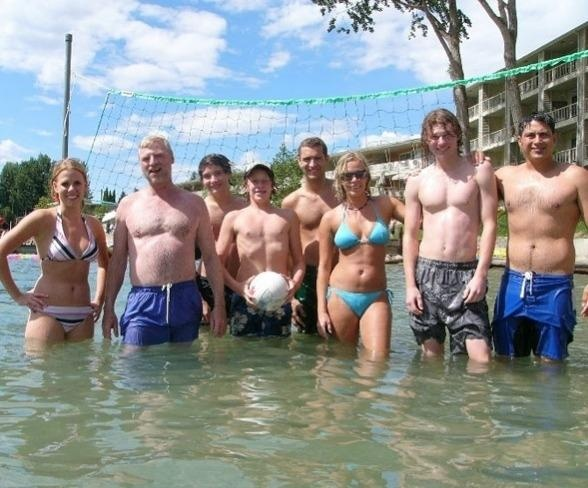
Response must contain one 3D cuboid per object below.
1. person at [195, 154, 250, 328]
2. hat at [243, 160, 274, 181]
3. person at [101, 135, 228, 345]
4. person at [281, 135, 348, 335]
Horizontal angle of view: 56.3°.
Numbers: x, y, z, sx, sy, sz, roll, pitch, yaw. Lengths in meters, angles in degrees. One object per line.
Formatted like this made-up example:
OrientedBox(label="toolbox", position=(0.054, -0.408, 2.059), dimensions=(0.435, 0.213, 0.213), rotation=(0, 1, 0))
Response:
OrientedBox(label="person", position=(-0.757, -0.173, 5.906), dimensions=(0.633, 2.035, 0.732), rotation=(0, 0, -26))
OrientedBox(label="hat", position=(-0.318, -0.661, 5.088), dimensions=(0.284, 0.158, 0.243), rotation=(0, 4, -5))
OrientedBox(label="person", position=(-1.056, -0.032, 4.493), dimensions=(0.997, 1.707, 0.450), rotation=(0, 4, -15))
OrientedBox(label="person", position=(0.156, -0.087, 5.462), dimensions=(0.570, 1.908, 0.595), rotation=(2, -3, -14))
